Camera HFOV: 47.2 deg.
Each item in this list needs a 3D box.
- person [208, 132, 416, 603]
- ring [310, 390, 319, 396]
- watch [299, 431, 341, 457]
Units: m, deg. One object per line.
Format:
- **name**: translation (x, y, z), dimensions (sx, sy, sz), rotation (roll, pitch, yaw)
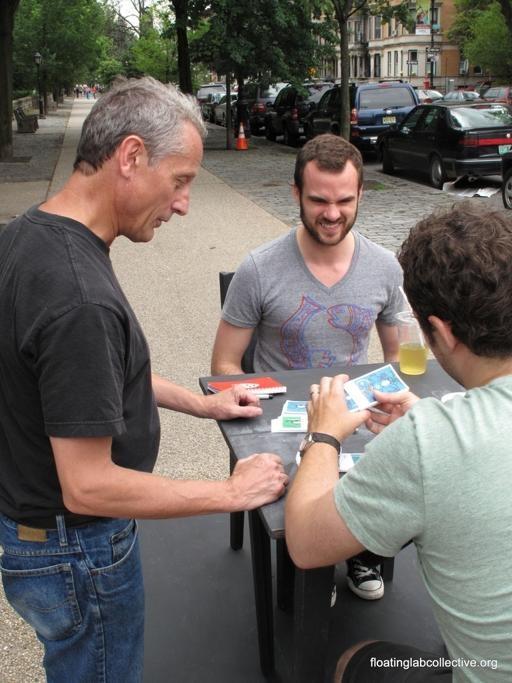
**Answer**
- **person**: translation (0.358, 0.098, 2.787), dimensions (1.130, 1.918, 0.987), rotation (-4, 9, -16)
- **ring**: translation (0.173, 0.154, 1.727), dimensions (0.016, 0.008, 0.019), rotation (-3, 31, 2)
- **watch**: translation (0.164, 0.250, 1.492), dimensions (0.097, 0.088, 0.058), rotation (6, 60, 26)
